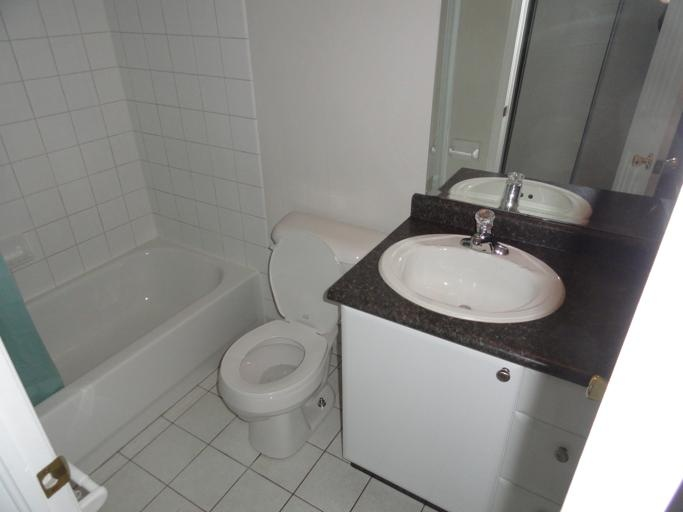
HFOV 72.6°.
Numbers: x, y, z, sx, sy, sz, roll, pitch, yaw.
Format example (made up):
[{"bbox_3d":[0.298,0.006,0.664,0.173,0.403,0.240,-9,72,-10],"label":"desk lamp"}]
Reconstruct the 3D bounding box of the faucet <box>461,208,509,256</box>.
[{"bbox_3d":[0.515,-0.083,1.657,0.135,0.128,0.068,14,38,29],"label":"faucet"}]

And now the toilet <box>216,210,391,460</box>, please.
[{"bbox_3d":[-0.213,0.350,2.067,0.510,0.962,0.826,15,28,21],"label":"toilet"}]

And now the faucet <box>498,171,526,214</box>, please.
[{"bbox_3d":[0.629,-0.217,1.741,0.059,0.060,0.157,14,73,15],"label":"faucet"}]
